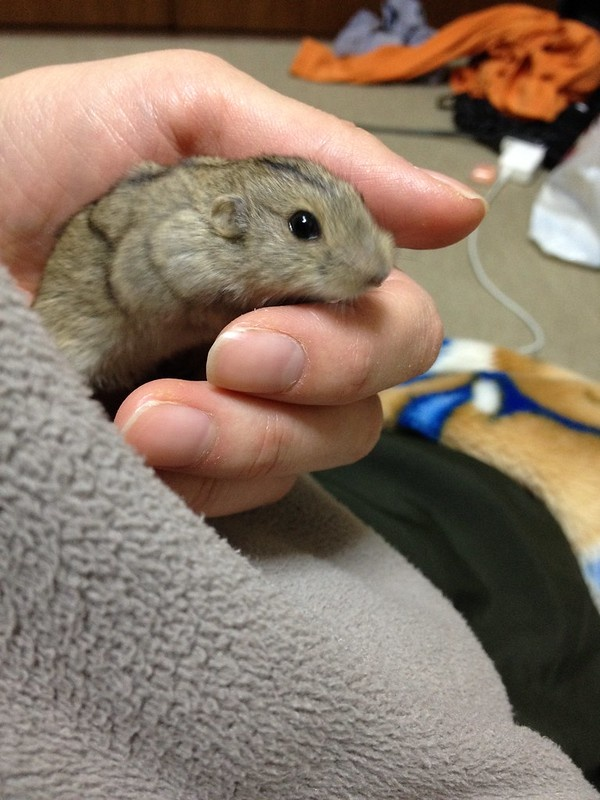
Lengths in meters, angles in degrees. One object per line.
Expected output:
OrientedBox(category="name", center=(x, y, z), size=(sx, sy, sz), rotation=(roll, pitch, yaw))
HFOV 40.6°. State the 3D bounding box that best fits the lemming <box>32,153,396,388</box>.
OrientedBox(category="lemming", center=(-0.099, -0.163, 1.110), size=(0.561, 0.301, 0.282), rotation=(7, 21, 34))
